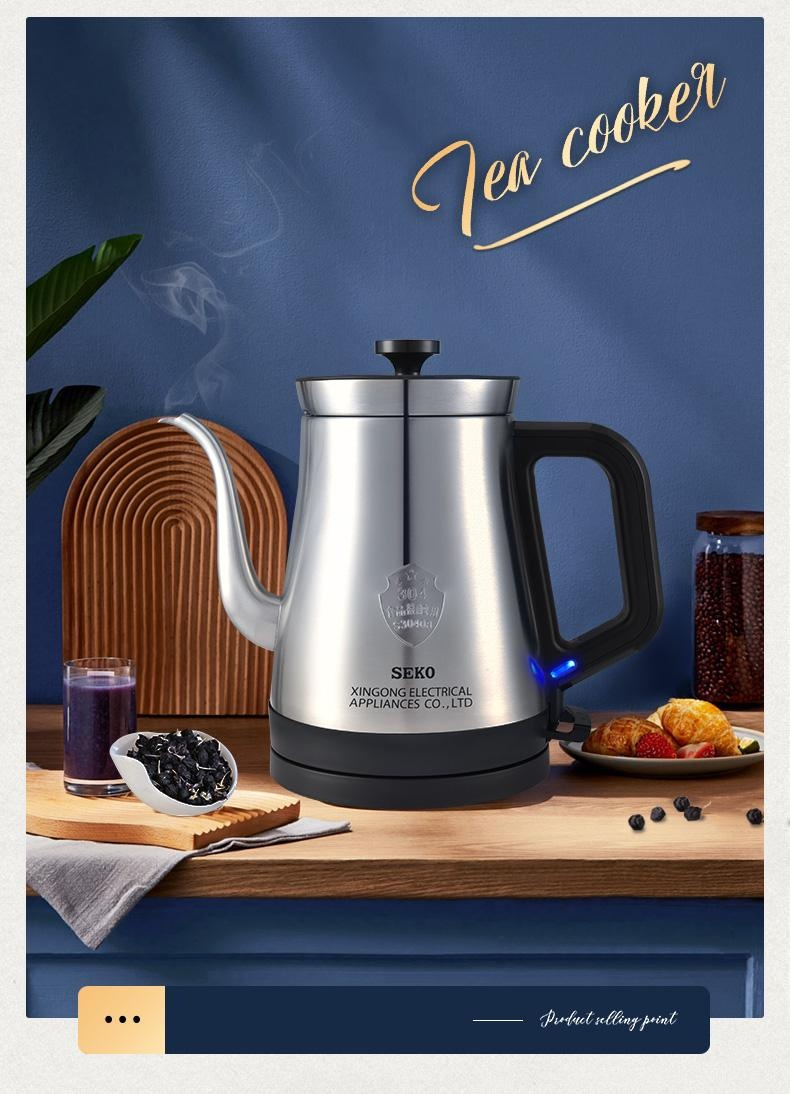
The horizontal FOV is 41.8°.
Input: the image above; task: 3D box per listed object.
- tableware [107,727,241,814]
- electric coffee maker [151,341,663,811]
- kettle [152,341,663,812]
[{"bbox_3d":[-0.148,0.135,0.662,0.059,0.022,0.054,11,7,6],"label":"tableware"},{"bbox_3d":[0.012,0.013,0.709,0.327,0.286,0.198,0,6,-5],"label":"electric coffee maker"},{"bbox_3d":[0.013,0.013,0.708,0.326,0.286,0.196,0,6,-3],"label":"kettle"}]
